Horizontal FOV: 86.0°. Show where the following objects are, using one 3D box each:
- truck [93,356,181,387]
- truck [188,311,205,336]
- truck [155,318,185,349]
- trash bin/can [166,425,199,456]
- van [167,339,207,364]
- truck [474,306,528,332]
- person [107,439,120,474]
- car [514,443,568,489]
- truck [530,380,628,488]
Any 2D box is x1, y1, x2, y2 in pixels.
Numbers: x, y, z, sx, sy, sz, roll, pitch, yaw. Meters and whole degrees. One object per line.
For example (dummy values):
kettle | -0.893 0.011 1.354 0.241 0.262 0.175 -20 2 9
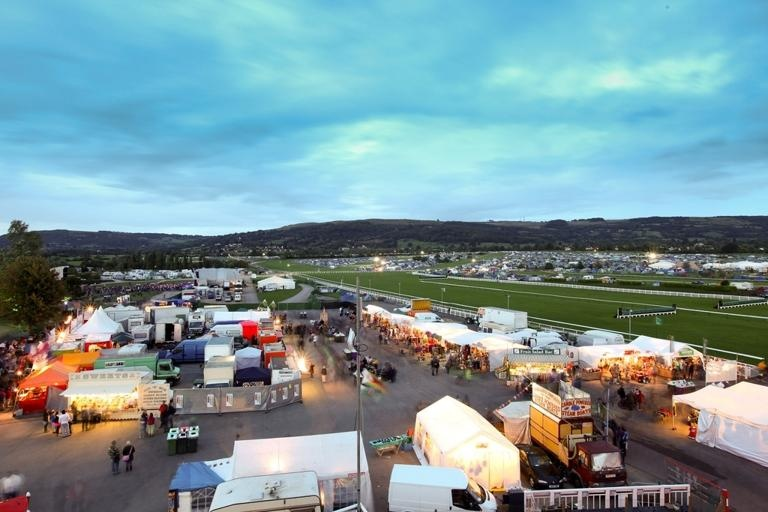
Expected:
truck | -18.081 8.795 30.732 5.012 2.579 2.066 -3 2 -26
truck | -21.207 7.794 46.300 1.552 1.518 2.938 2 -4 -22
truck | -23.515 8.347 44.517 2.937 1.870 2.841 5 -10 -33
trash bin/can | -11.014 10.109 22.476 1.533 1.236 1.026 -3 2 -13
van | -17.742 8.847 37.572 4.220 1.791 2.293 3 -5 -10
truck | 12.126 7.106 44.806 2.537 2.470 5.812 1 -4 -32
person | -13.685 10.183 20.791 0.381 1.605 1.295 -5 3 -34
car | 7.684 10.539 20.066 1.603 1.279 2.156 -3 1 -10
truck | 9.855 9.096 22.069 2.313 2.958 6.389 -1 -6 -9
